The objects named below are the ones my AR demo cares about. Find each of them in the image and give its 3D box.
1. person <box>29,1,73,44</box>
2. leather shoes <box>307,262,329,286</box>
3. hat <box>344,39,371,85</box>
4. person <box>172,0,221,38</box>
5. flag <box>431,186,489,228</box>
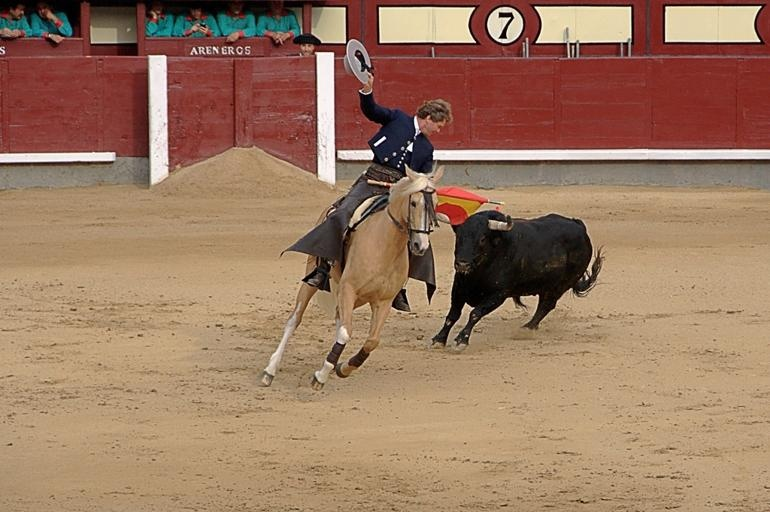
[{"bbox_3d":[-5.990,-4.255,28.904,0.497,0.747,0.716,8,10,42],"label":"person"},{"bbox_3d":[-0.802,0.237,19.660,0.264,0.311,0.117,28,-4,10],"label":"leather shoes"},{"bbox_3d":[-0.320,-2.446,19.872,0.326,0.546,0.805,1,7,-2],"label":"hat"},{"bbox_3d":[-3.458,-4.332,29.168,0.606,0.272,0.721,0,35,-3],"label":"person"},{"bbox_3d":[0.986,-0.638,20.967,0.880,0.671,0.266,15,57,18],"label":"flag"}]
